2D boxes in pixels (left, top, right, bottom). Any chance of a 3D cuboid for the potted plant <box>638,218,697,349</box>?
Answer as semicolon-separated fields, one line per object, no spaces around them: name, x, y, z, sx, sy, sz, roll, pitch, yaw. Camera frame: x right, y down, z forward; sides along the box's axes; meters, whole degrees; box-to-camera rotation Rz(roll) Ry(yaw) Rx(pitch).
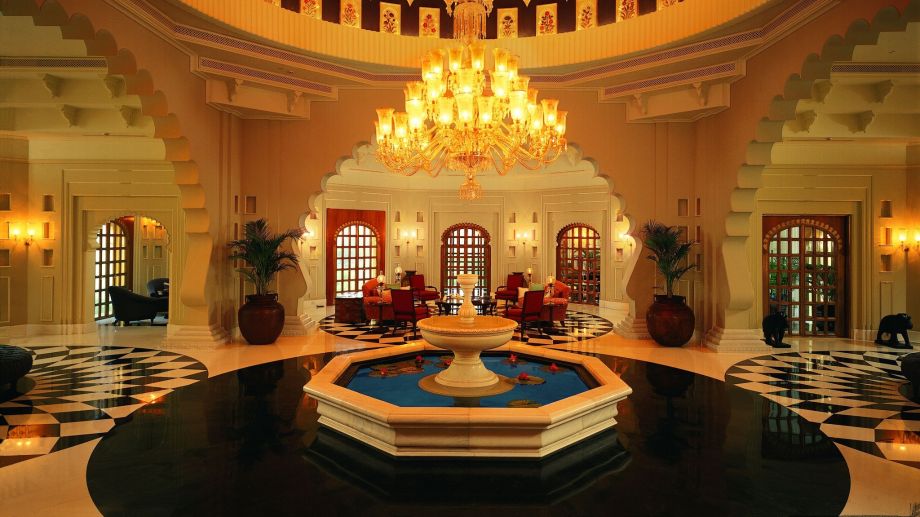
potted plant;5.185;0.683;14.866;1.124;3.097;1.075;-2;-2;17

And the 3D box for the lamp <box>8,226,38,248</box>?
lamp;-11.397;-0.542;15.724;0.575;0.558;0.174;0;-2;-33

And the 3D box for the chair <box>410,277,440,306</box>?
chair;-1.185;1.073;19.124;0.880;1.086;0.878;0;-1;-44

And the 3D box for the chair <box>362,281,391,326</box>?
chair;-2.322;1.327;16.893;0.755;0.908;1.280;1;3;3

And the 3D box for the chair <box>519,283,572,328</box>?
chair;2.488;1.278;16.980;1.335;1.423;1.502;1;-3;-11

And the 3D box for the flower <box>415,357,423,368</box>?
flower;-0.848;2.239;12.769;0.182;0.160;0.383;-1;-2;-7

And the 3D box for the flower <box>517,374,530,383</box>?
flower;1.272;2.395;11.871;0.206;0.127;0.312;-1;-2;3

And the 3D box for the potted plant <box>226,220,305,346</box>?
potted plant;-4.913;0.626;15.061;1.752;3.112;1.235;-1;-2;9

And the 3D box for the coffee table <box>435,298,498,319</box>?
coffee table;0.180;1.452;17.874;1.762;0.591;2.436;-1;-2;-2

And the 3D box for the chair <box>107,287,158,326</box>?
chair;-9.251;1.359;17.202;1.204;1.175;1.096;-5;7;-39

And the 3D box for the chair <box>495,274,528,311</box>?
chair;1.730;1.112;19.839;1.039;1.458;1.167;2;-4;31
